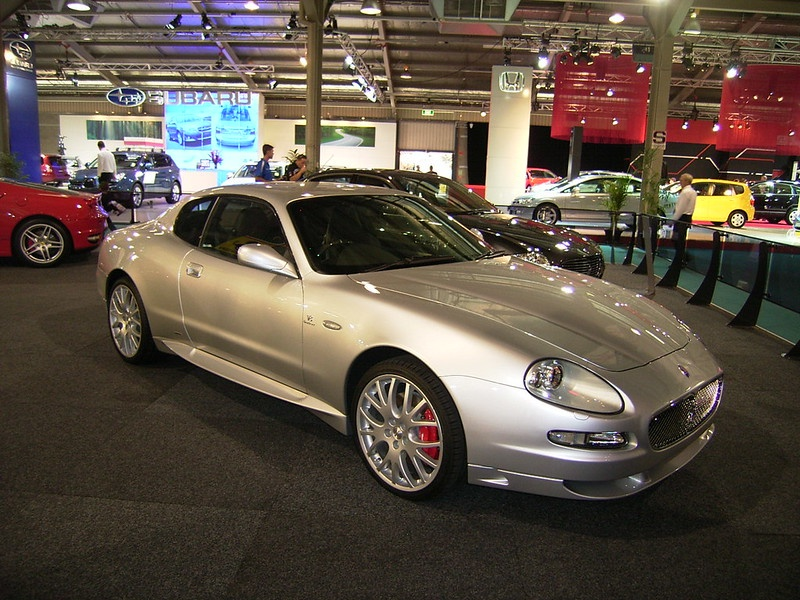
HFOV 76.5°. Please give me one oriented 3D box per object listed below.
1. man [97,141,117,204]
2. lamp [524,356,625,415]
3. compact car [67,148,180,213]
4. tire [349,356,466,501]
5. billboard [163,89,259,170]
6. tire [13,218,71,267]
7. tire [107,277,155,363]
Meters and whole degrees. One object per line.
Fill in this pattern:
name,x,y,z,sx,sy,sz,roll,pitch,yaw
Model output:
man,-9.180,-3.865,15.716,0.548,1.986,0.634,18,19,16
lamp,0.833,0.425,2.439,0.362,0.088,0.267,21,53,8
compact car,-9.927,-4.555,18.695,2.327,1.692,4.087,6,15,6
tire,0.060,0.695,2.764,0.216,0.676,0.714,-39,36,-22
billboard,-9.746,-8.678,26.192,4.888,3.915,1.074,4,18,7
tire,-5.771,-0.948,8.138,0.766,0.754,0.270,-1,7,-13
tire,-2.286,0.158,4.331,0.206,0.647,0.582,-8,23,-42
